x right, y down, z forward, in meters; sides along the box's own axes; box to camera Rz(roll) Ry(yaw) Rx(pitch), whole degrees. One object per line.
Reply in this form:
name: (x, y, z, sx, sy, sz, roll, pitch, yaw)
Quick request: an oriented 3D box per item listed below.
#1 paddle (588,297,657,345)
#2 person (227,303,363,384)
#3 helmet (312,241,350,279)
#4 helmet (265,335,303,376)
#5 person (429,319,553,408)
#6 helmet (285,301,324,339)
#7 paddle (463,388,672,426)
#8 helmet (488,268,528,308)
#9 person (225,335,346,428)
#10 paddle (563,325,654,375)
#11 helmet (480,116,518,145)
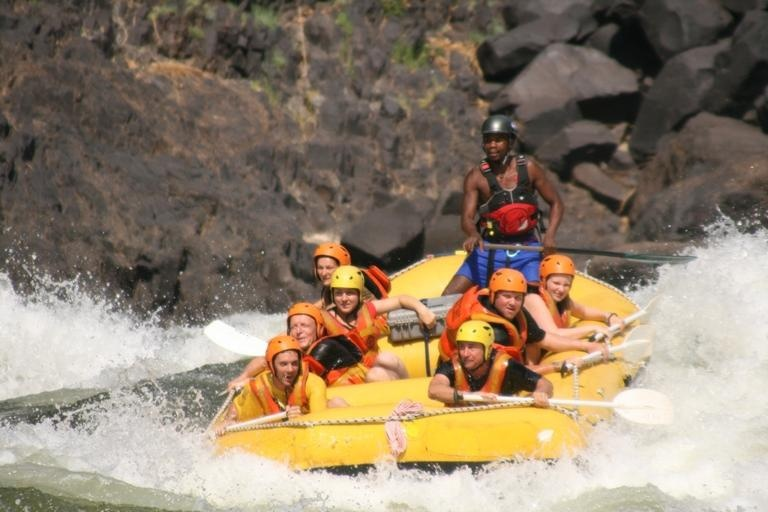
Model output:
paddle: (3.309, 0.914, 18.876, 1.147, 0.208, 0.137, -28, 38, -28)
person: (-1.230, 1.028, 18.025, 1.393, 1.740, 0.609, -1, 100, -3)
helmet: (-0.724, 0.039, 19.328, 0.419, 0.575, 0.455, -11, 83, 28)
helmet: (-1.354, 1.302, 18.065, 0.405, 0.470, 0.446, 8, 64, -19)
person: (1.319, 1.517, 17.852, 1.123, 0.651, 1.394, 9, 102, 16)
helmet: (-1.067, 0.821, 18.519, 0.424, 0.447, 0.401, -4, 98, -28)
paddle: (2.356, 1.996, 17.730, 2.029, 0.153, 0.433, 4, 49, -3)
helmet: (1.703, 0.405, 18.332, 0.388, 0.497, 0.475, 7, 65, -8)
person: (-1.403, 1.782, 18.098, 1.505, 0.917, 1.350, 2, 116, 12)
paddle: (3.173, 1.313, 18.440, 1.470, 0.405, 0.549, -15, 104, 0)
helmet: (1.668, -1.839, 19.385, 0.477, 0.441, 0.373, 0, 99, -20)
